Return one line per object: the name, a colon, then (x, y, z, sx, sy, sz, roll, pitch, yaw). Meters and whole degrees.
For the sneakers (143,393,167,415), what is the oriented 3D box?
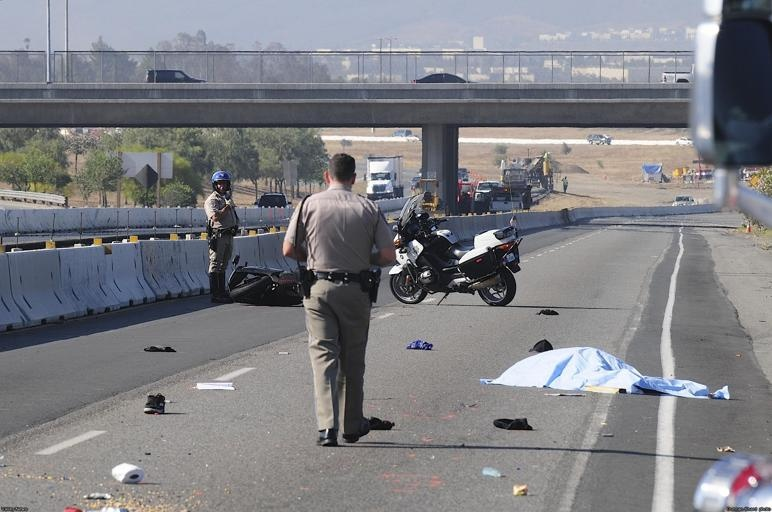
sneakers: (-2.727, 1.742, 12.941, 0.230, 0.193, 0.250, 0, 7, -4)

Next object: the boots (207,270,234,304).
boots: (-3.233, 0.613, 22.101, 0.604, 0.637, 0.441, -1, 6, 1)

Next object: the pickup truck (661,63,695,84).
pickup truck: (15.205, -9.407, 57.440, 1.487, 0.710, 5.637, 2, 7, 13)

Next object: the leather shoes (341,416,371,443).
leather shoes: (-0.301, 1.928, 11.926, 0.144, 0.188, 0.407, 12, 31, 28)

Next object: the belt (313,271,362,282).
belt: (-0.521, 0.228, 11.846, 0.517, 0.109, 0.069, 1, 7, 4)

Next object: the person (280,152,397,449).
person: (-0.508, 0.462, 11.903, 1.121, 3.104, 0.712, 0, 6, -5)

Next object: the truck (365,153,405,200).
truck: (-0.611, -7.676, 108.488, 2.521, 3.900, 7.187, -1, -1, 7)
